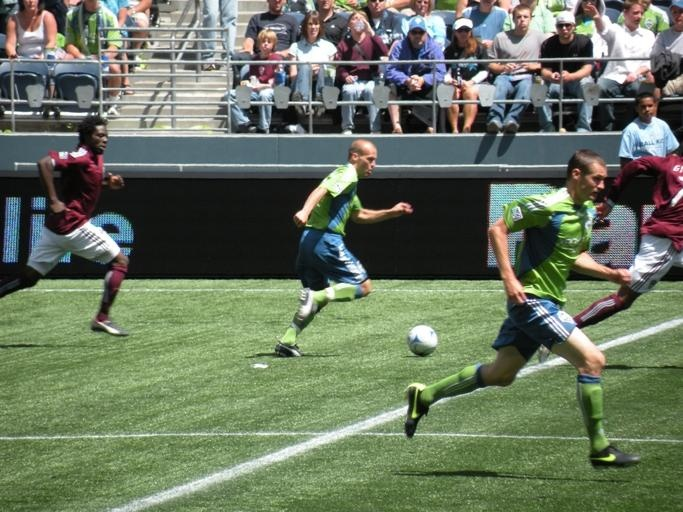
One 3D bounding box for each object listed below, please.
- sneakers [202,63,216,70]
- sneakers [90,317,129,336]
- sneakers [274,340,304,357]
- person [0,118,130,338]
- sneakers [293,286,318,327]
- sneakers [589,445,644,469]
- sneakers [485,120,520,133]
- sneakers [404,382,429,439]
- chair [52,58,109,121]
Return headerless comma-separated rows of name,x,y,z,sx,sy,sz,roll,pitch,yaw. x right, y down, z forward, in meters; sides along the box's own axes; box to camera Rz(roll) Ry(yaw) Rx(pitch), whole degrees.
sneakers,-2.379,-3.349,21.035,0.267,0.127,0.336,1,13,7
sneakers,-2.671,0.824,13.594,0.455,0.176,0.176,18,6,-7
sneakers,-0.607,1.032,12.939,0.334,0.170,0.120,9,42,-22
person,-3.028,-0.286,13.299,1.203,2.482,0.523,-4,13,-12
sneakers,-0.389,0.536,12.854,0.186,0.418,0.198,26,12,20
sneakers,2.309,1.719,10.159,0.449,0.186,0.174,-3,-3,-1
sneakers,2.414,-1.971,18.229,0.562,0.229,0.187,0,-10,-5
sneakers,0.656,1.359,10.576,0.181,0.496,0.232,10,-8,25
chair,-4.325,-2.716,19.338,0.856,1.070,0.928,0,-1,-4
